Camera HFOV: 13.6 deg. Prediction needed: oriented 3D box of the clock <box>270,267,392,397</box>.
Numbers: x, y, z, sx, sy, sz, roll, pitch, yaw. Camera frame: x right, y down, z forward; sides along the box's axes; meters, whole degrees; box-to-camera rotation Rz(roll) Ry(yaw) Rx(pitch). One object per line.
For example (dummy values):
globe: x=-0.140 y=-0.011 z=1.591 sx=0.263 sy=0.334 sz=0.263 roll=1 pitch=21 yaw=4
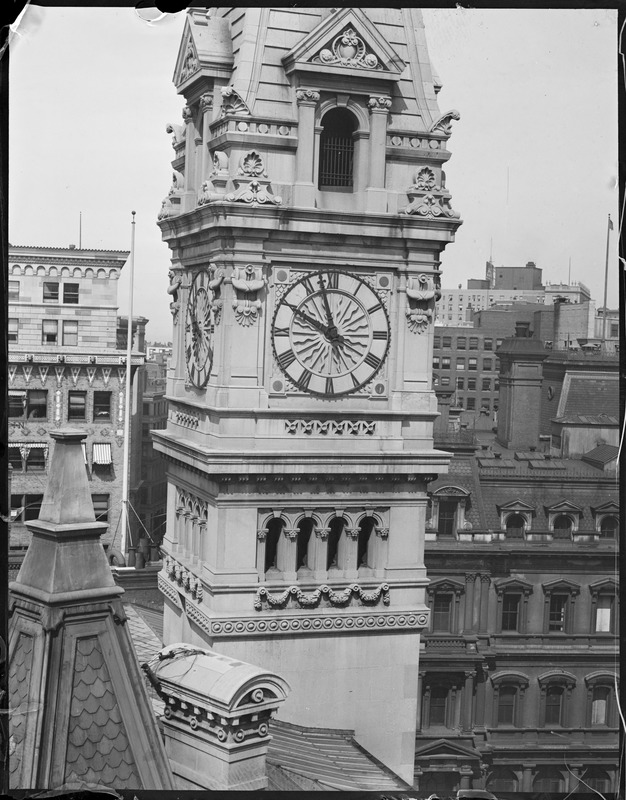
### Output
clock: x=0.166 y=-1.030 z=36.699 sx=1.431 sy=1.794 sz=0.132 roll=-2 pitch=4 yaw=-26

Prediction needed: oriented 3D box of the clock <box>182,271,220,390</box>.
clock: x=-1.577 y=-1.028 z=37.327 sx=0.224 sy=1.687 sz=1.454 roll=3 pitch=2 yaw=-18
